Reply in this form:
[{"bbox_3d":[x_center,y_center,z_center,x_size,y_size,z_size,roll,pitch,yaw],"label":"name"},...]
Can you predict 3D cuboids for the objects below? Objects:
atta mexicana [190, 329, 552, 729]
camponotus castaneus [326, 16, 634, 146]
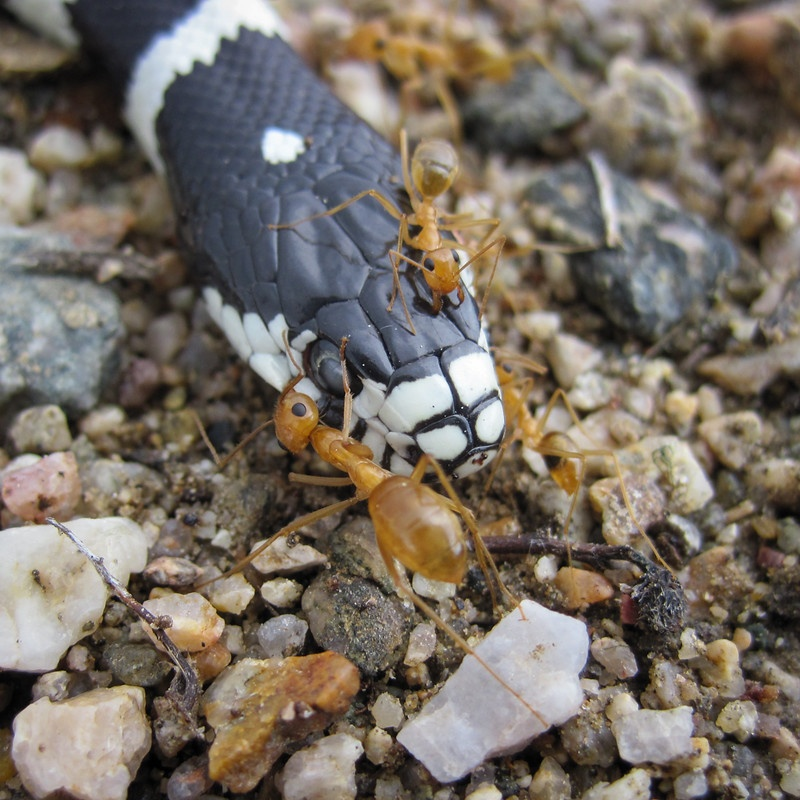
[{"bbox_3d":[0.088,0.291,2.963,0.971,0.966,1.057,24,38,30],"label":"atta mexicana"},{"bbox_3d":[0.153,-1.167,3.254,0.665,0.258,0.485,7,57,0],"label":"camponotus castaneus"}]
